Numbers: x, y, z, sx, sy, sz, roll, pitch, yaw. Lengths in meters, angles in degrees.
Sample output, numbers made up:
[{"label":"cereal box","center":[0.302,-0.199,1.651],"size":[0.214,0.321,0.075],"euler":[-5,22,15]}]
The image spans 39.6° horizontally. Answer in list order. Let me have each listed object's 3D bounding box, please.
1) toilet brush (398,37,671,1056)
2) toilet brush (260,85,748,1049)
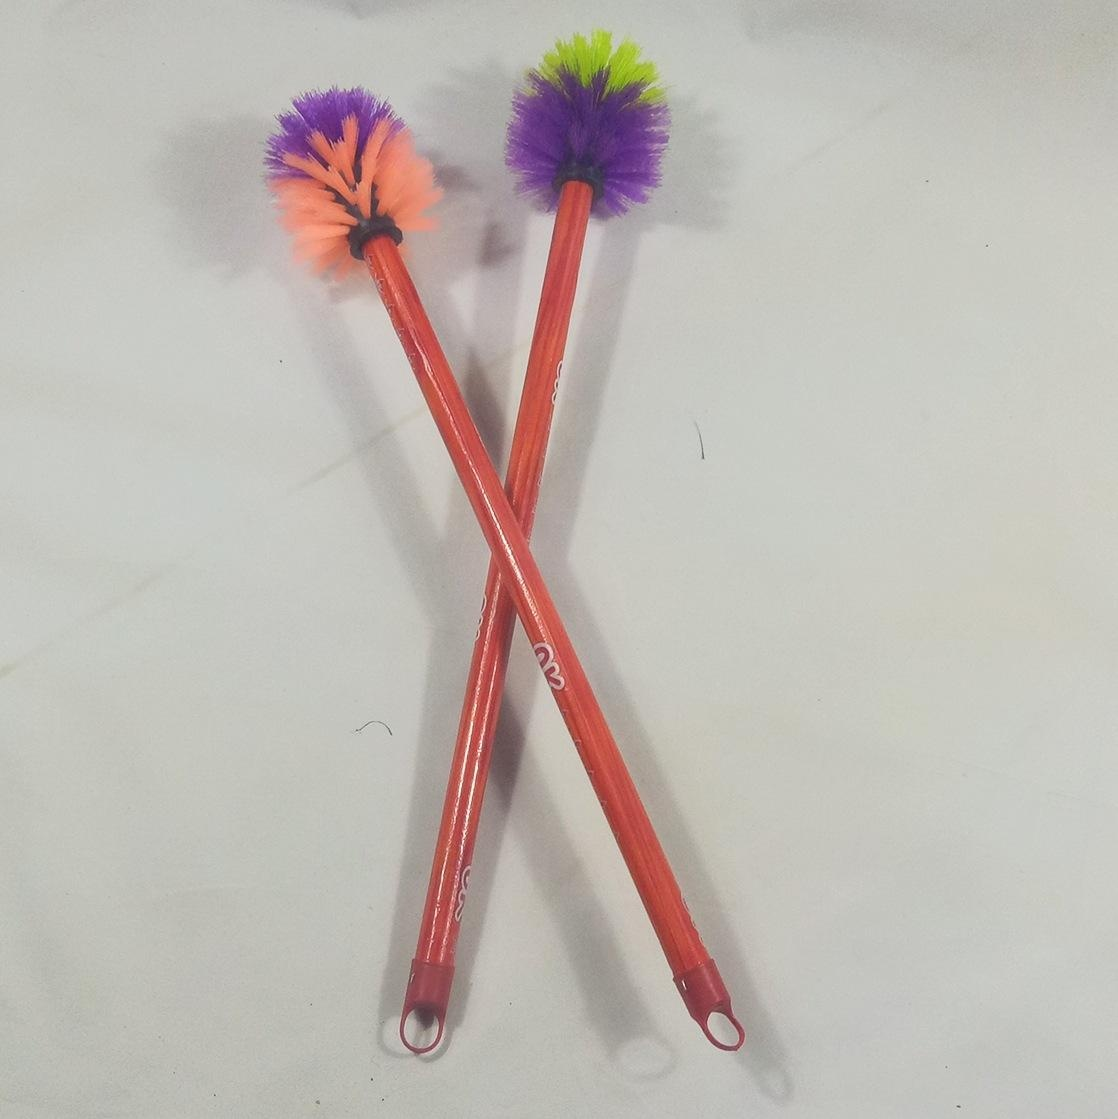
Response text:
[{"label":"toilet brush","center":[-0.013,-0.062,1.135],"size":[0.139,0.787,0.164],"euler":[8,-9,-15]},{"label":"toilet brush","center":[-0.042,0.029,1.068],"size":[0.113,0.633,0.121],"euler":[-21,2,-23]}]
